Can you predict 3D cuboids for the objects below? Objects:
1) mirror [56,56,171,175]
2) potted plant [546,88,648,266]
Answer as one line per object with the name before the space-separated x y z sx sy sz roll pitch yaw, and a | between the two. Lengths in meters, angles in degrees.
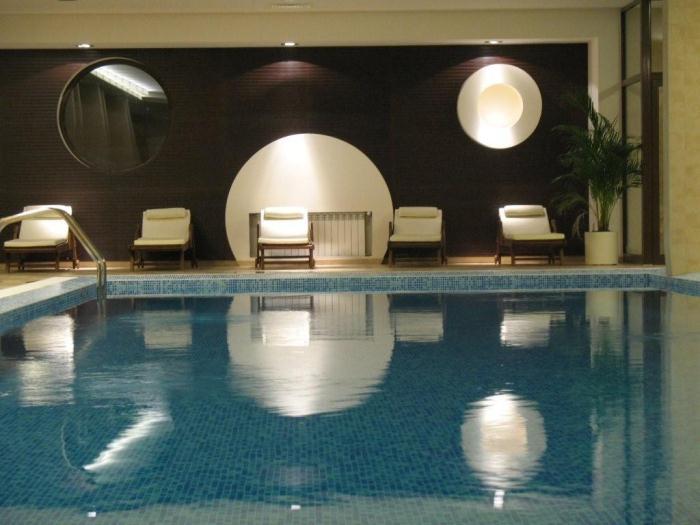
mirror | -4.559 -2.942 12.213 2.273 2.404 0.308 19 23 4
potted plant | 3.581 -1.261 9.054 1.130 2.508 1.251 1 7 13
